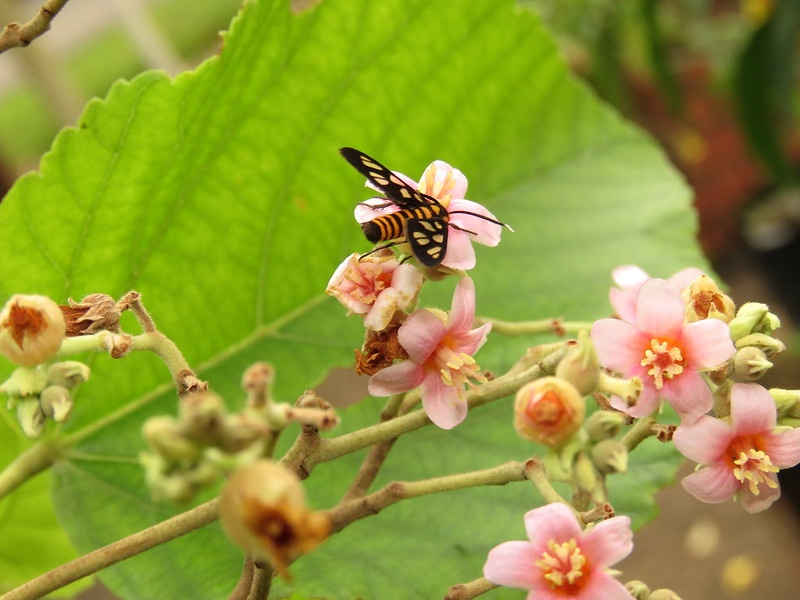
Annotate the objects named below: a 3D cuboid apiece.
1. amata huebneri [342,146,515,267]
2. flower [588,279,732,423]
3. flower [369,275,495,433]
[{"bbox_3d":[0.032,-0.125,1.153,0.179,0.198,0.066,-5,-46,-32],"label":"amata huebneri"},{"bbox_3d":[0.345,0.065,1.100,0.161,0.151,0.130,-27,-43,13],"label":"flower"},{"bbox_3d":[0.041,0.081,1.193,0.175,0.191,0.134,-32,-4,-4],"label":"flower"}]
